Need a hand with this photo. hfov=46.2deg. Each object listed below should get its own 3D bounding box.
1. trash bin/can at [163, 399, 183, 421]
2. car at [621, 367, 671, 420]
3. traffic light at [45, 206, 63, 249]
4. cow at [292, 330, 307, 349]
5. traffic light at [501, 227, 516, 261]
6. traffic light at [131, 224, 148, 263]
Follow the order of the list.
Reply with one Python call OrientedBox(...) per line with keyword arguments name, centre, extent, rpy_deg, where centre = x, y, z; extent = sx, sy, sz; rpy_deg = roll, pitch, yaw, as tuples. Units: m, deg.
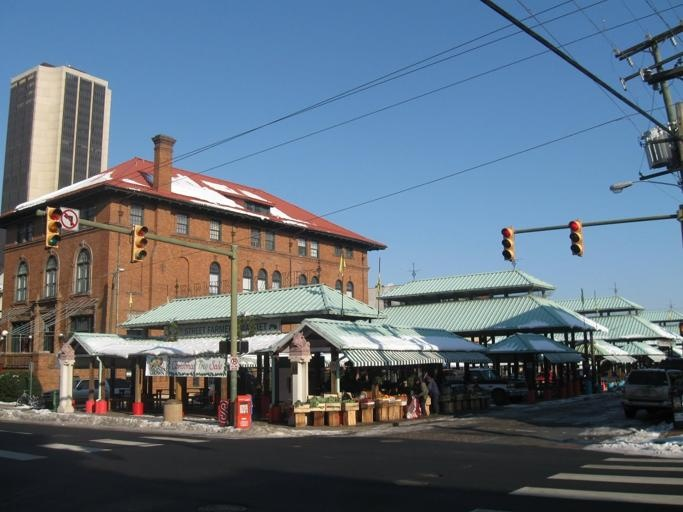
OrientedBox(name="trash bin/can", centre=(-7.848, 7.238, 37.563), extent=(0.970, 0.908, 0.968), rpy_deg=(0, -4, 39))
OrientedBox(name="car", centre=(14.610, 6.331, 37.789), extent=(1.739, 1.272, 2.986), rpy_deg=(-2, -5, 29))
OrientedBox(name="traffic light", centre=(-10.292, -1.108, 28.557), extent=(0.513, 1.517, 1.122), rpy_deg=(2, -15, -20))
OrientedBox(name="cow", centre=(-2.134, 4.027, 38.194), extent=(0.867, 0.819, 0.635), rpy_deg=(-16, -19, 41))
OrientedBox(name="traffic light", centre=(6.725, -0.457, 32.233), extent=(0.621, 1.395, 0.345), rpy_deg=(6, -18, -32))
OrientedBox(name="traffic light", centre=(-7.729, -0.522, 30.523), extent=(0.539, 1.592, 1.159), rpy_deg=(1, -15, -17))
